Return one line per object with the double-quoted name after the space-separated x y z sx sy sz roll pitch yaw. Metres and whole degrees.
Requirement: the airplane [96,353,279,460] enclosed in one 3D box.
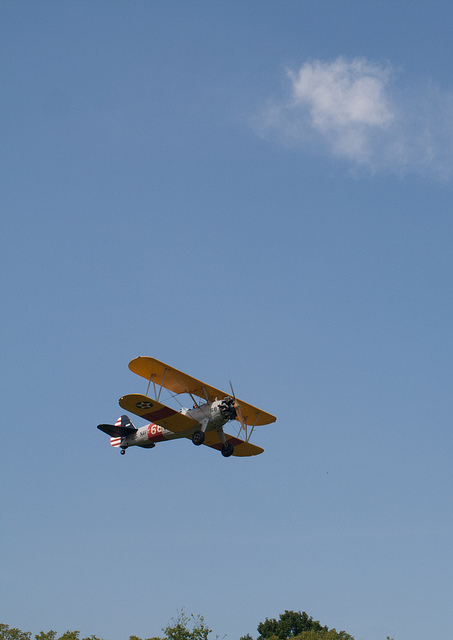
-1.672 4.635 58.284 7.424 2.581 8.383 8 -28 -3 "airplane"
